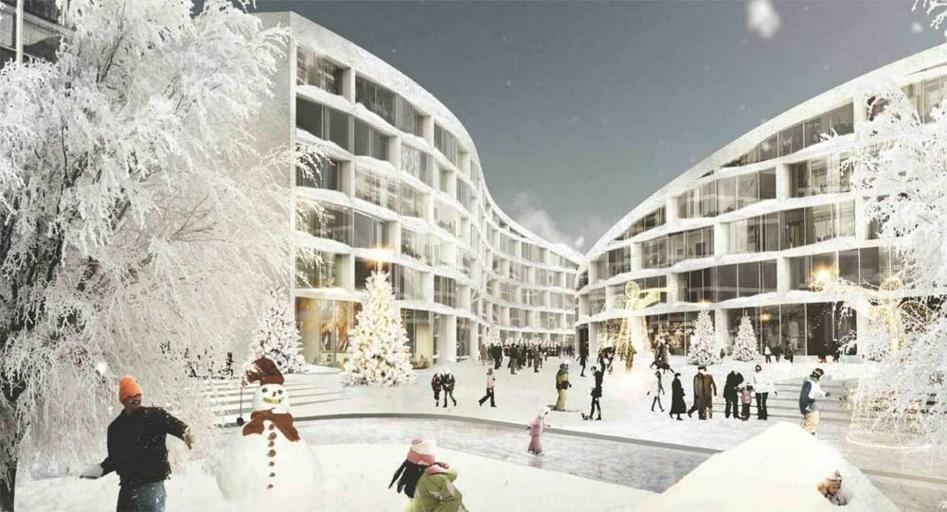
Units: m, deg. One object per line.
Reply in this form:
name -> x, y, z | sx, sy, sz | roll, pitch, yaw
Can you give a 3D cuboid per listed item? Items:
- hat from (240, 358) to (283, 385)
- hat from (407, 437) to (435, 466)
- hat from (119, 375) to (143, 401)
hat -> -4.770, 2.578, 14.840 | 0.625, 0.621, 0.702 | 13, -16, -43
hat -> -1.217, 4.366, 14.681 | 0.647, 0.465, 0.551 | 4, -1, -19
hat -> -7.658, 2.941, 14.561 | 0.454, 0.529, 0.277 | 6, -12, -19
